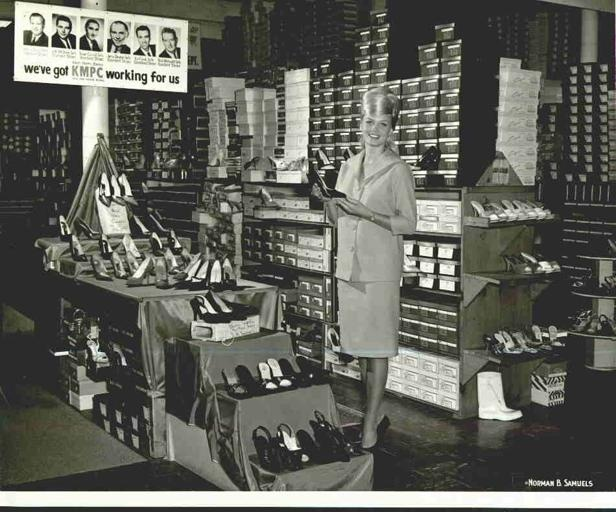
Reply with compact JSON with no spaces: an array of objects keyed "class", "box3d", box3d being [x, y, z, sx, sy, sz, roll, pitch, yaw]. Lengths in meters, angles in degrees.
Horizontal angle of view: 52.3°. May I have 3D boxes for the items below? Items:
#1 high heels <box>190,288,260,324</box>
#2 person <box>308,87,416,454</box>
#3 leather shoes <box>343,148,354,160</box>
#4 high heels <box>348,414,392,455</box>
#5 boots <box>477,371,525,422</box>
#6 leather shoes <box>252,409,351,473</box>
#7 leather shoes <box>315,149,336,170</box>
[{"class":"high heels","box3d":[-0.490,0.291,3.583,0.249,0.107,0.188,0,10,13]},{"class":"person","box3d":[0.326,0.084,3.459,0.509,1.958,0.292,2,9,10]},{"class":"leather shoes","box3d":[0.306,-0.751,4.680,0.092,0.096,0.268,4,8,-2]},{"class":"high heels","box3d":[0.326,1.023,3.602,0.135,0.174,0.423,-3,-8,19]},{"class":"boots","box3d":[1.292,0.958,4.297,0.355,0.391,0.202,0,0,19]},{"class":"leather shoes","box3d":[-0.036,0.900,3.168,0.231,0.100,0.310,-7,6,-26]},{"class":"leather shoes","box3d":[0.143,-0.783,5.076,0.087,0.124,0.278,-8,23,-8]}]
